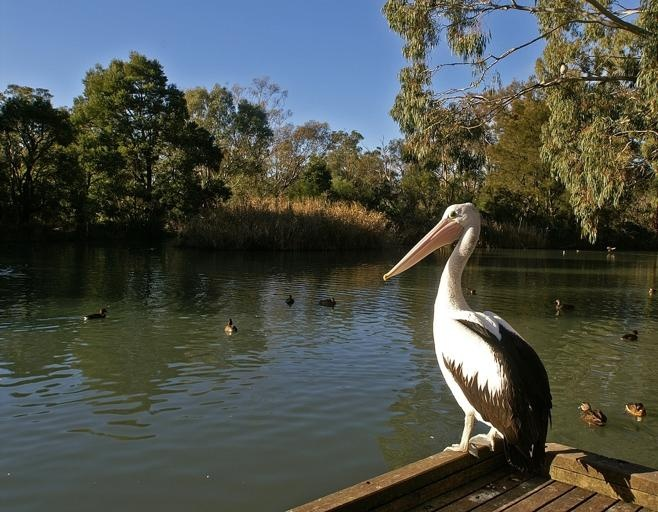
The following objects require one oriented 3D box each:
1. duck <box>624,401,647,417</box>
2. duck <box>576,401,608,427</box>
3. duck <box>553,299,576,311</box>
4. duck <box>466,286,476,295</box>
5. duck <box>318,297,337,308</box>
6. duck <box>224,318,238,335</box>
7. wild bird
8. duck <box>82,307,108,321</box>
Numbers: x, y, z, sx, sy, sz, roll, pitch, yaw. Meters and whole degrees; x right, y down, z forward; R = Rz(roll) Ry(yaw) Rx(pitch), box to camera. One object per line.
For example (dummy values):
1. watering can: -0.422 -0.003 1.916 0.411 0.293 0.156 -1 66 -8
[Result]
1. duck: 3.781 1.909 7.047 0.145 0.190 0.201 7 21 -7
2. duck: 3.146 1.895 6.895 0.159 0.212 0.360 3 8 -16
3. duck: 5.610 1.145 13.609 0.544 0.416 0.300 1 -8 4
4. duck: 3.982 1.013 16.018 0.151 0.313 0.482 -1 -4 31
5. duck: -0.028 1.080 13.367 0.411 0.146 0.574 2 5 0
6. duck: -1.802 1.328 10.469 0.173 0.231 0.323 1 -12 -10
7. wild bird: 1.398 0.645 5.271 0.764 2.226 1.433 0 6 -14
8. duck: -4.578 1.146 11.280 0.501 0.344 0.190 3 3 -21
